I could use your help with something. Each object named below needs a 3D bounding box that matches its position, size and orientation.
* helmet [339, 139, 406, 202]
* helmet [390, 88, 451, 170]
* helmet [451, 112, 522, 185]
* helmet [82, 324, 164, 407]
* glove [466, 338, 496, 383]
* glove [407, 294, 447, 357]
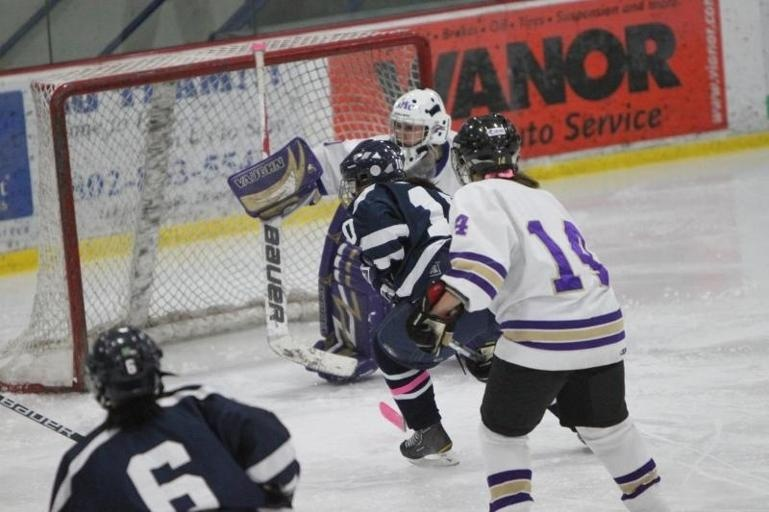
[{"bbox_3d":[-0.055,-0.486,6.789,0.427,0.402,0.349,-7,-4,4],"label":"helmet"},{"bbox_3d":[0.250,-0.836,7.431,0.367,0.517,0.419,7,14,39],"label":"helmet"},{"bbox_3d":[0.568,-0.589,6.209,0.364,0.386,0.441,-8,12,-15],"label":"helmet"},{"bbox_3d":[-1.298,0.560,5.694,0.414,0.392,0.441,-9,13,-9],"label":"helmet"},{"bbox_3d":[0.630,0.663,7.069,0.214,0.265,0.114,-2,-6,-23],"label":"glove"},{"bbox_3d":[0.249,0.368,5.935,0.205,0.262,0.284,22,33,-10],"label":"glove"}]
